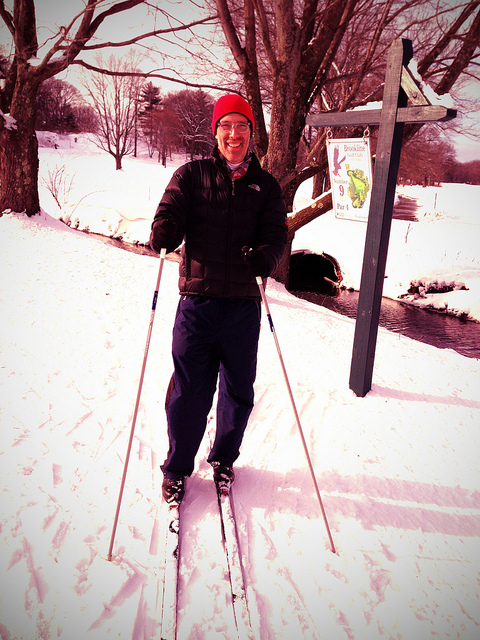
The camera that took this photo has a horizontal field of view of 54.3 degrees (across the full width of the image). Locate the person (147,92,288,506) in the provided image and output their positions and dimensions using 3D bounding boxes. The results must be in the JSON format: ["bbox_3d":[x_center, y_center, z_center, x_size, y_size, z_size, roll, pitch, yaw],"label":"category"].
[{"bbox_3d":[-0.119,-0.053,2.464,0.649,2.136,0.452,6,14,5],"label":"person"}]

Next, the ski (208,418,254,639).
[{"bbox_3d":[-0.034,1.124,2.274,0.073,0.109,0.817,2,16,-10],"label":"ski"}]

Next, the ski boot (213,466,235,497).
[{"bbox_3d":[-0.093,0.913,2.657,0.098,0.152,0.055,3,-13,-6],"label":"ski boot"}]

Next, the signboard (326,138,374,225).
[{"bbox_3d":[0.938,-1.182,3.971,0.476,0.685,0.058,-6,1,-27],"label":"signboard"}]

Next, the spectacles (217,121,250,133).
[{"bbox_3d":[-0.029,-0.955,2.315,0.148,0.066,0.073,5,15,-1],"label":"spectacles"}]
